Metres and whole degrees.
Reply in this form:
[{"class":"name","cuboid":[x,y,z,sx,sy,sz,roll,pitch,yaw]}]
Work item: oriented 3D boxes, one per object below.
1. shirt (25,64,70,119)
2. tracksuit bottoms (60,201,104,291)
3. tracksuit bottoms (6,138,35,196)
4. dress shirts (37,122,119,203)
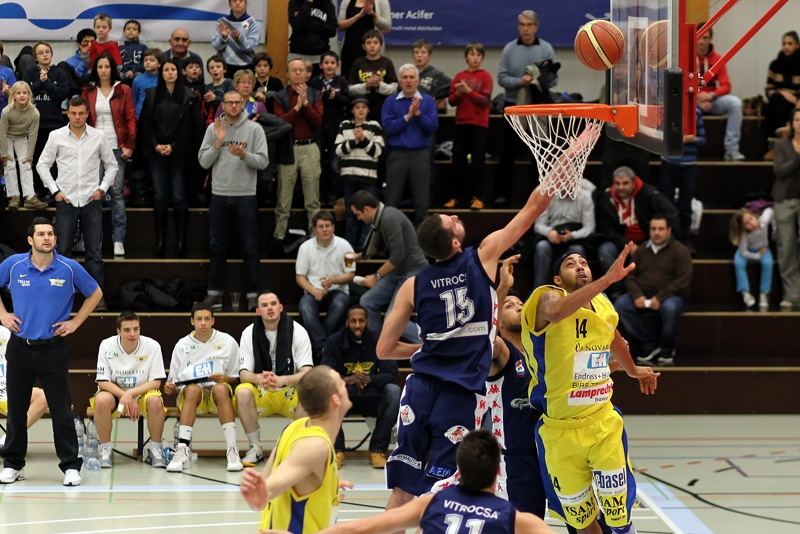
[{"class":"shirt","cuboid":[-5.170,-2.467,13.048,0.544,0.809,0.222,-1,13,-9]},{"class":"tracksuit bottoms","cuboid":[-4.366,-0.225,12.058,0.647,0.396,1.672,2,45,-24]},{"class":"tracksuit bottoms","cuboid":[-5.503,-1.399,12.827,0.358,0.882,0.229,-3,18,-15]},{"class":"dress shirts","cuboid":[-4.416,-1.380,12.198,1.044,1.061,0.525,-4,15,-26]}]
